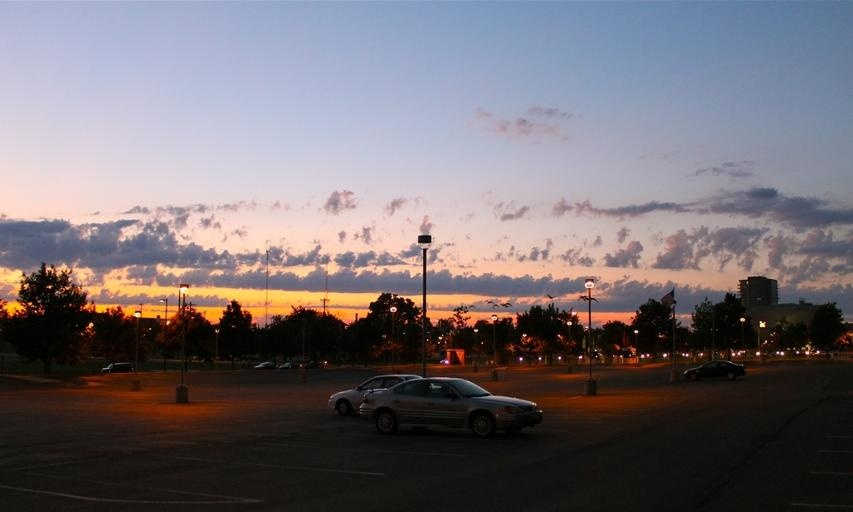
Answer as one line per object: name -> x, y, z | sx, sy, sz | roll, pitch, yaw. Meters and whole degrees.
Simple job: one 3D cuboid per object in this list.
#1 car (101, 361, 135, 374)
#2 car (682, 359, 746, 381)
car -> -31.968, 11.670, 98.943 | 3.269, 1.434, 1.761 | 4, -4, -9
car -> 22.348, 8.875, 75.349 | 4.277, 1.306, 1.968 | 0, -6, 14
